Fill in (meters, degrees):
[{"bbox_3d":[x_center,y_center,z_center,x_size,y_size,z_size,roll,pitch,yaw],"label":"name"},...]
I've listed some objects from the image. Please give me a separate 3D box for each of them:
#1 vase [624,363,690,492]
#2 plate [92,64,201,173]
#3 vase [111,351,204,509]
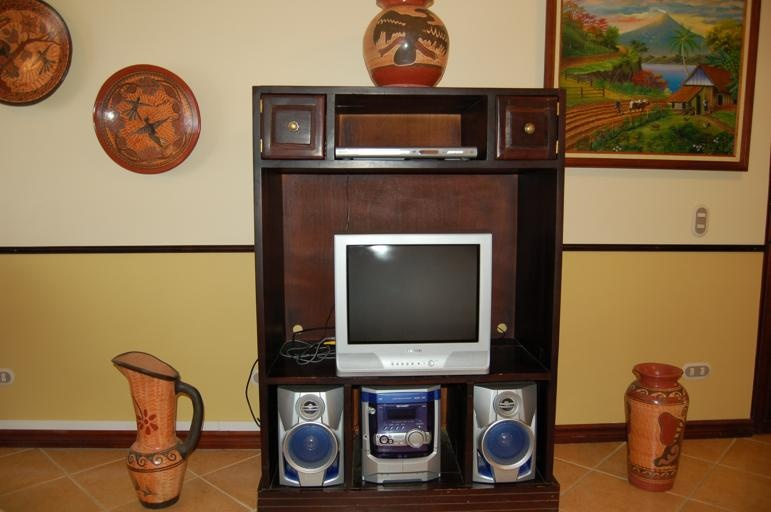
[{"bbox_3d":[1.582,1.032,3.819,0.321,0.678,0.190,4,12,21],"label":"vase"},{"bbox_3d":[-1.470,-0.838,3.982,0.631,0.647,0.121,1,11,6],"label":"plate"},{"bbox_3d":[-1.307,0.996,3.717,0.432,0.856,0.284,5,12,22],"label":"vase"}]
